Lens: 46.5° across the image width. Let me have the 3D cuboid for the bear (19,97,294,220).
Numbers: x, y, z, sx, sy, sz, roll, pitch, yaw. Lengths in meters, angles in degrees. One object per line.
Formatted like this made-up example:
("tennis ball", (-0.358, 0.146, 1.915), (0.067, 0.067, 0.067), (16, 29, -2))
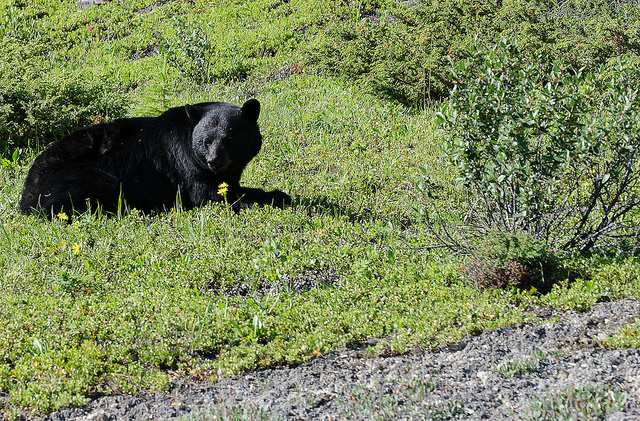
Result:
("bear", (-2.644, -0.631, 11.468), (3.175, 1.541, 1.911), (-4, 9, -1))
